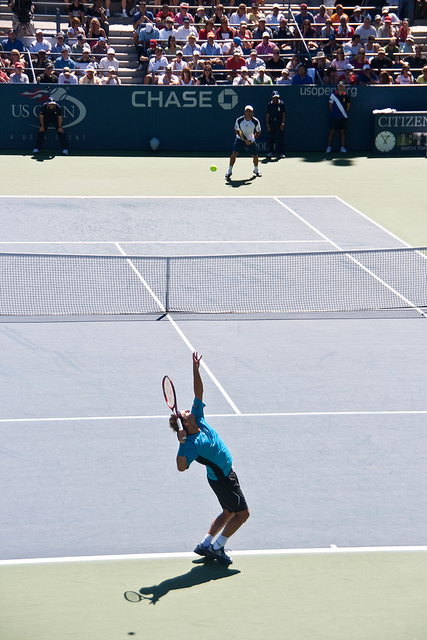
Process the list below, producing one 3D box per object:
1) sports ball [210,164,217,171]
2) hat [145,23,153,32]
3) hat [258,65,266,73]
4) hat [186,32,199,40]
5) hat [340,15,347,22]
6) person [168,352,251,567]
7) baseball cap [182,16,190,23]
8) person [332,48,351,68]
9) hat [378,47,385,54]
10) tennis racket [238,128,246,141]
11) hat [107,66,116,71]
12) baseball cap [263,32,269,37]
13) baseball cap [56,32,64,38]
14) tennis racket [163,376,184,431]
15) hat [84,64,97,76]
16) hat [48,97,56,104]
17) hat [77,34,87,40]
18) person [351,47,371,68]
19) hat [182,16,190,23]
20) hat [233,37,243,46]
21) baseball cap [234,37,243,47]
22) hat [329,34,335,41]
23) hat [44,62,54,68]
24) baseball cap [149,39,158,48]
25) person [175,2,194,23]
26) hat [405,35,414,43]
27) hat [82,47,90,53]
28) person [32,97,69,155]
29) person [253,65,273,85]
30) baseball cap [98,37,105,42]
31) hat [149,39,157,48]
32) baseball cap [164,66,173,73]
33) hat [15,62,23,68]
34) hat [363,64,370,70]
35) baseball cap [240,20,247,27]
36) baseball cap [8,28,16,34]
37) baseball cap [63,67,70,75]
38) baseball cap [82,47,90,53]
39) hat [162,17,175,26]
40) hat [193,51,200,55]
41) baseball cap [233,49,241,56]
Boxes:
[{"bbox_3d":[-0.016,-3.248,24.953,0.126,0.126,0.121,0,0,0],"label":"sports ball"},{"bbox_3d":[-1.569,-6.929,27.641,0.175,0.203,0.117,2,14,4],"label":"hat"},{"bbox_3d":[1.077,-5.757,26.784,0.253,0.140,0.463,0,10,3],"label":"hat"},{"bbox_3d":[-0.541,-6.787,27.826,0.334,0.112,0.349,0,4,8],"label":"hat"},{"bbox_3d":[3.207,-7.480,28.937,0.157,0.120,0.159,-1,16,-4],"label":"hat"},{"bbox_3d":[-0.049,1.336,10.652,0.567,1.934,0.964,-21,28,-10],"label":"person"},{"bbox_3d":[-0.696,-7.286,28.254,0.130,0.118,0.223,-2,18,-6],"label":"baseball cap"},{"bbox_3d":[3.009,-6.180,27.512,0.434,0.443,0.770,3,14,5],"label":"person"},{"bbox_3d":[3.980,-6.419,27.806,0.243,0.126,0.377,0,15,9],"label":"hat"},{"bbox_3d":[0.546,-3.814,24.004,0.174,0.174,0.588,1,2,13],"label":"tennis racket"},{"bbox_3d":[-2.346,-5.695,26.367,0.162,0.097,0.267,-4,8,-6],"label":"hat"},{"bbox_3d":[1.218,-6.789,27.635,0.191,0.143,0.179,4,14,4],"label":"baseball cap"},{"bbox_3d":[-3.631,-6.647,27.147,0.233,0.118,0.387,-2,10,-7],"label":"baseball cap"},{"bbox_3d":[-0.334,0.651,9.268,0.127,0.454,0.036,-17,2,32],"label":"tennis racket"},{"bbox_3d":[-2.850,-5.650,26.418,0.426,0.167,0.459,-3,-2,-5],"label":"hat"},{"bbox_3d":[-3.538,-4.738,25.205,0.152,0.118,0.226,-2,14,-18],"label":"hat"},{"bbox_3d":[-3.106,-6.545,26.964,0.271,0.137,0.320,-1,27,-4],"label":"hat"},{"bbox_3d":[3.479,-6.214,27.666,0.452,0.449,0.783,3,14,6],"label":"person"},{"bbox_3d":[-0.697,-7.288,28.265,0.133,0.121,0.228,-2,20,-6],"label":"hat"},{"bbox_3d":[0.517,-6.566,27.424,0.150,0.123,0.237,19,18,23],"label":"hat"},{"bbox_3d":[0.556,-6.565,27.517,0.184,0.185,0.474,2,14,3],"label":"baseball cap"},{"bbox_3d":[2.854,-6.848,28.288,0.124,0.149,0.369,2,14,4],"label":"hat"},{"bbox_3d":[-3.737,-5.690,26.040,0.221,0.099,0.359,-2,11,-9],"label":"hat"},{"bbox_3d":[-1.439,-6.434,27.181,0.127,0.172,0.170,-1,43,2],"label":"baseball cap"},{"bbox_3d":[-0.756,-7.588,28.774,0.460,0.499,1.262,1,14,-2],"label":"person"},{"bbox_3d":[4.826,-6.934,28.698,0.216,0.135,0.254,2,11,-1],"label":"hat"},{"bbox_3d":[-2.981,-6.213,26.819,0.147,0.089,0.230,-1,13,-6],"label":"hat"},{"bbox_3d":[-3.650,-4.250,25.643,0.711,1.272,1.019,1,14,-1],"label":"person"},{"bbox_3d":[1.090,-5.626,26.849,0.508,0.359,1.054,-2,30,1],"label":"person"},{"bbox_3d":[-2.654,-6.518,27.135,0.145,0.101,0.247,0,14,-7],"label":"baseball cap"},{"bbox_3d":[-1.433,-6.453,27.200,0.204,0.150,0.334,6,-1,1],"label":"hat"},{"bbox_3d":[-1.074,-5.693,26.503,0.191,0.148,0.196,4,16,11],"label":"baseball cap"},{"bbox_3d":[-4.374,-5.664,25.878,0.148,0.110,0.243,-1,-3,-5],"label":"hat"},{"bbox_3d":[3.573,-5.846,27.011,0.150,0.111,0.248,-2,14,4],"label":"hat"},{"bbox_3d":[0.701,-7.157,28.192,0.202,0.117,0.386,1,17,-1],"label":"baseball cap"},{"bbox_3d":[-4.690,-6.631,26.766,0.162,0.091,0.215,-1,16,-5],"label":"baseball cap"},{"bbox_3d":[-3.292,-5.551,25.863,0.129,0.146,0.144,6,46,-1],"label":"baseball cap"},{"bbox_3d":[-2.984,-6.214,26.821,0.147,0.087,0.234,-1,14,-8],"label":"baseball cap"},{"bbox_3d":[-1.138,-7.195,28.088,0.334,0.108,0.359,-1,-13,-2],"label":"hat"},{"bbox_3d":[-0.421,-6.172,26.911,0.154,0.107,0.205,-1,1,-4],"label":"hat"},{"bbox_3d":[0.524,-6.172,26.924,0.153,0.141,0.329,1,14,-2],"label":"baseball cap"}]
